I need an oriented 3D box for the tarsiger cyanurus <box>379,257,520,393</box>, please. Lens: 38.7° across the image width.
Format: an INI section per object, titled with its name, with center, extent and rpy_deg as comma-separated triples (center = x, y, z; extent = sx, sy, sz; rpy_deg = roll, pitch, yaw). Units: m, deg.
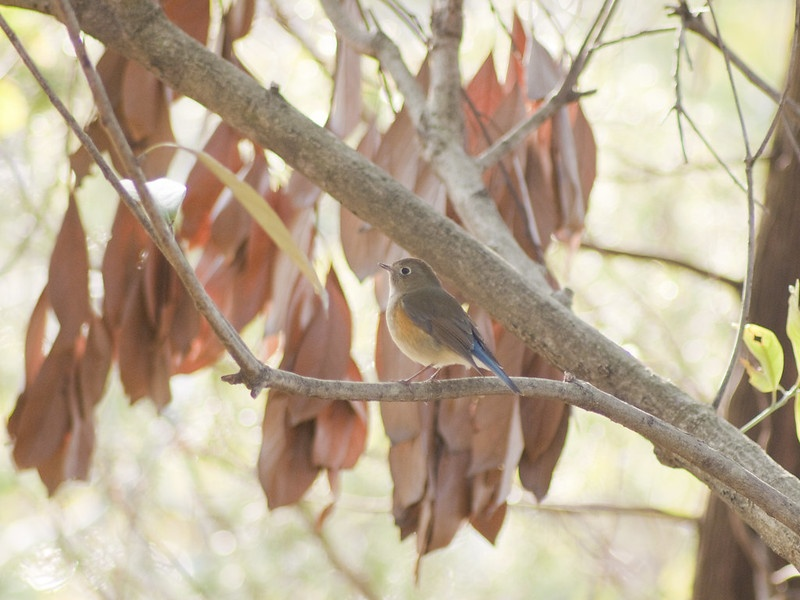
[tarsiger cyanurus]
center = 0.240, 0.141, 5.355
extent = 0.853, 0.575, 0.302
rpy_deg = 11, -9, 29
